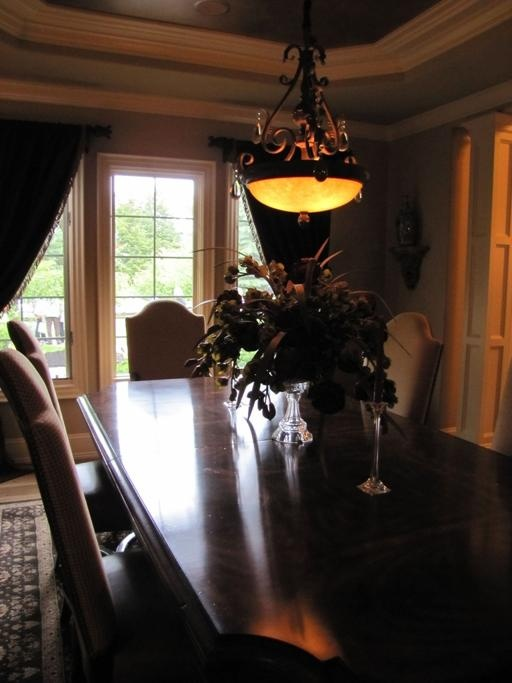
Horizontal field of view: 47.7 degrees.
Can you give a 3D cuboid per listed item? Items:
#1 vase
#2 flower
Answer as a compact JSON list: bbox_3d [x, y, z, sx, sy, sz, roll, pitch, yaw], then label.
[{"bbox_3d":[0.107,0.204,1.689,0.142,0.155,0.135,0,1,19],"label":"vase"},{"bbox_3d":[0.091,-0.011,1.451,0.556,0.432,0.527,5,0,-2],"label":"flower"}]
